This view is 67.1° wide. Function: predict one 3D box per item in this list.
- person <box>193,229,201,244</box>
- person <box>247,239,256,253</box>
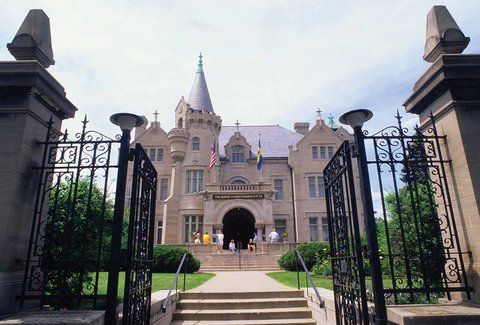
[{"bbox_3d":[-3.583,6.191,30.155,0.722,1.106,0.606,-24,-34,27],"label":"person"},{"bbox_3d":[0.907,6.727,28.705,0.626,0.910,1.273,-1,-32,-1],"label":"person"}]
